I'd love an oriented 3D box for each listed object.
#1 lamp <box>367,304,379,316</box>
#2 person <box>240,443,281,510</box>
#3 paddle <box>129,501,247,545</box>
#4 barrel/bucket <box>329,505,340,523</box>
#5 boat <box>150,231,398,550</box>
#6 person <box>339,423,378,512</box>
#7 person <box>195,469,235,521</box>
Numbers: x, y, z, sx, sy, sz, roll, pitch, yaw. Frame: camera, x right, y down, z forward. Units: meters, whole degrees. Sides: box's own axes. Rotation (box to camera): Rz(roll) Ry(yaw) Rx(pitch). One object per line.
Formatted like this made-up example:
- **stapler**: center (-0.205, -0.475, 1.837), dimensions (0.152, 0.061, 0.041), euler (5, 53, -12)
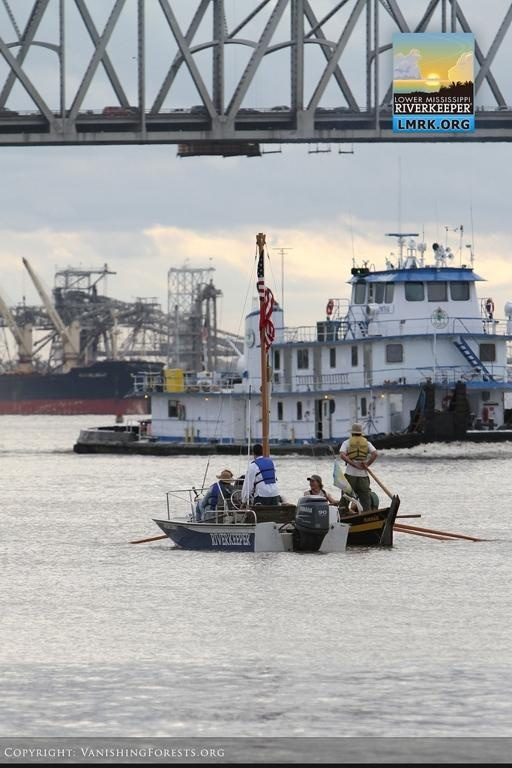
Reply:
- **lamp**: center (3.633, -2.155, 61.753), dimensions (0.320, 0.467, 0.259), euler (0, 1, 21)
- **person**: center (0.075, 1.639, 35.443), dimensions (0.593, 1.091, 1.224), euler (1, 0, 15)
- **paddle**: center (-1.482, 2.758, 37.409), dimensions (2.342, 0.325, 0.293), euler (-10, 2, 24)
- **barrel/bucket**: center (1.450, 2.371, 36.323), dimensions (0.216, 0.293, 0.468), euler (-1, 2, -1)
- **boat**: center (0.801, 1.056, 52.181), dimensions (11.572, 7.746, 5.208), euler (0, -1, -1)
- **person**: center (1.954, 1.494, 36.638), dimensions (0.487, 1.817, 0.552), euler (-5, 3, -39)
- **person**: center (-0.669, 2.046, 36.292), dimensions (0.459, 0.922, 1.292), euler (1, 0, -27)
